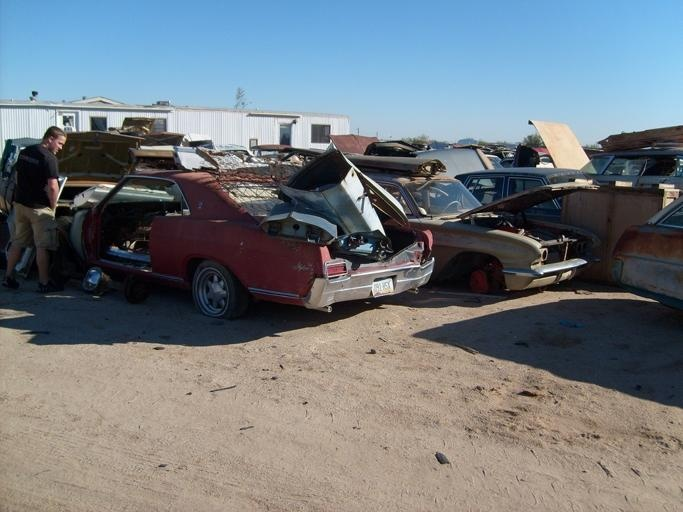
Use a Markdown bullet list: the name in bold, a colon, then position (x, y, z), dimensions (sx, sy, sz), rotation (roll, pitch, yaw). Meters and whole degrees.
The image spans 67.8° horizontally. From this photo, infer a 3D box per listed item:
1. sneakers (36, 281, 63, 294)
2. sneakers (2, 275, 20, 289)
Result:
- **sneakers**: position (-3.940, 0.429, 6.874), dimensions (0.358, 0.102, 0.145), rotation (-4, 8, -34)
- **sneakers**: position (-4.536, 0.367, 6.995), dimensions (0.309, 0.090, 0.120), rotation (9, 10, 38)
